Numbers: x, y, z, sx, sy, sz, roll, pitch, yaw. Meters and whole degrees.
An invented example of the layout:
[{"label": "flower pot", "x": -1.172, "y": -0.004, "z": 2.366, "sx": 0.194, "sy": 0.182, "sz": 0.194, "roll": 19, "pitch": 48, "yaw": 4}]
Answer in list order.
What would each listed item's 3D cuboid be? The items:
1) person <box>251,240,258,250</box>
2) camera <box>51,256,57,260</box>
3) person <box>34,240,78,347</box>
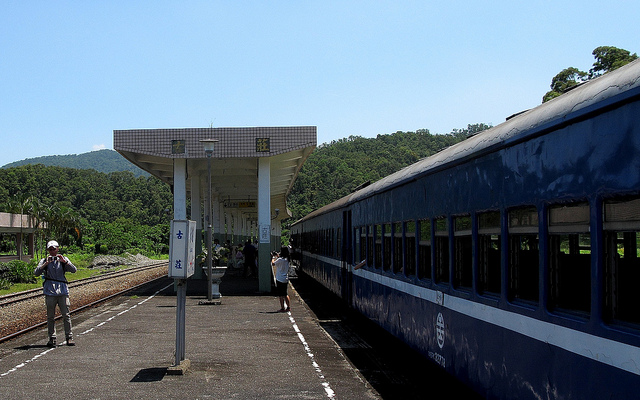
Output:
[{"label": "person", "x": -5.207, "y": 3.649, "z": 36.530, "sx": 0.553, "sy": 0.523, "sz": 1.949, "roll": 2, "pitch": -6, "yaw": -3}, {"label": "camera", "x": -6.041, "y": 1.326, "z": 10.348, "sx": 0.108, "sy": 0.082, "sz": 0.059, "roll": -11, "pitch": -17, "yaw": 35}, {"label": "person", "x": -6.070, "y": 2.198, "z": 10.474, "sx": 0.721, "sy": 2.480, "sz": 1.099, "roll": -1, "pitch": -3, "yaw": -31}]
